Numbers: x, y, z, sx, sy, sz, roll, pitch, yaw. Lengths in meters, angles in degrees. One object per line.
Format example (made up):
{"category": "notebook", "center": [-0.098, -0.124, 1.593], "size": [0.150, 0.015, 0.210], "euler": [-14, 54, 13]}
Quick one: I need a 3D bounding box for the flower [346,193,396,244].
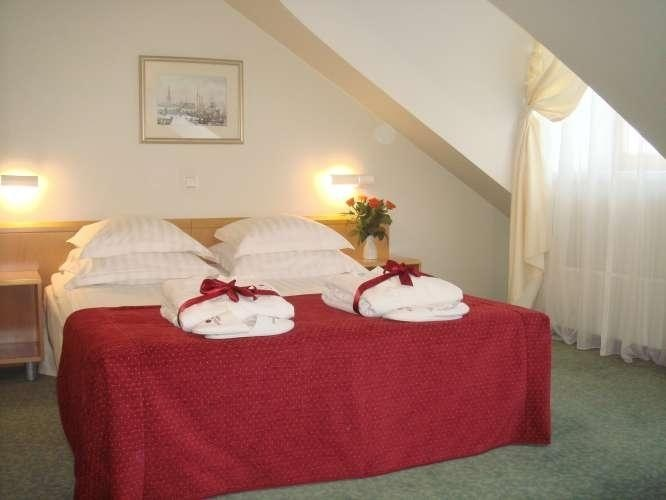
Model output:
{"category": "flower", "center": [0.302, -0.276, 4.137], "size": [0.414, 0.410, 0.397], "euler": [-5, 8, -43]}

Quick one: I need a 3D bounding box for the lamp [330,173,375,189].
{"category": "lamp", "center": [0.179, -0.610, 4.292], "size": [0.406, 0.118, 0.095], "euler": [-3, 8, -21]}

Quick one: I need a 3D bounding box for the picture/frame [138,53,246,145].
{"category": "picture/frame", "center": [-1.136, -1.193, 3.861], "size": [0.758, 0.627, 0.036], "euler": [-2, 7, -18]}

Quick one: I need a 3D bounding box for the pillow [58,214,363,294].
{"category": "pillow", "center": [-0.439, 0.028, 3.560], "size": [1.193, 0.396, 0.870], "euler": [1, 6, -21]}
